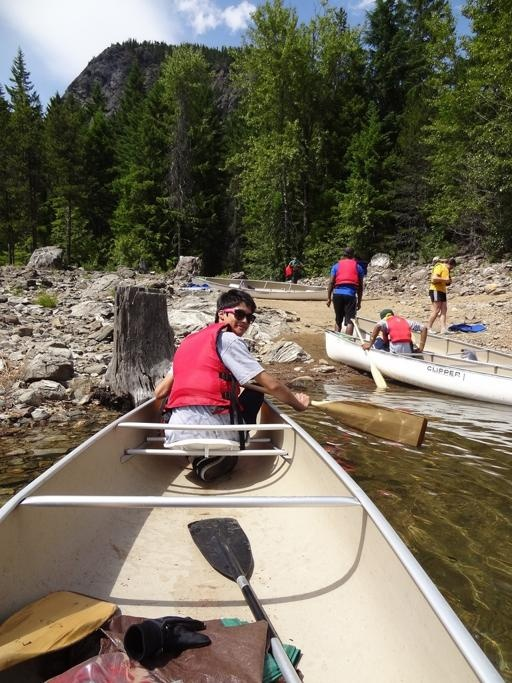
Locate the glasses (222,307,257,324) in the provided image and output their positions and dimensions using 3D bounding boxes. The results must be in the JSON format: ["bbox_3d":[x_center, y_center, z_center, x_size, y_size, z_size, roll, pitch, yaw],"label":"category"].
[{"bbox_3d":[-0.133,-0.167,2.842,0.118,0.038,0.114,8,-16,43],"label":"glasses"}]

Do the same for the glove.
[{"bbox_3d":[-0.238,0.776,1.297,0.127,0.080,0.190,-9,-16,33],"label":"glove"}]

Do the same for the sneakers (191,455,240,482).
[{"bbox_3d":[-0.248,0.750,2.798,0.198,0.097,0.274,1,-5,21],"label":"sneakers"}]

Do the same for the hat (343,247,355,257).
[{"bbox_3d":[1.654,-1.613,8.492,0.145,0.175,0.183,3,6,-2],"label":"hat"}]

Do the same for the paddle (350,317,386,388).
[{"bbox_3d":[1.696,0.218,7.352,0.149,0.102,1.405,-2,43,-16],"label":"paddle"}]

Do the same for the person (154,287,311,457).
[{"bbox_3d":[-0.108,0.343,2.888,0.956,1.264,0.685,0,2,-7],"label":"person"}]

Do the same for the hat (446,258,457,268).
[{"bbox_3d":[3.815,-1.536,9.263,0.146,0.180,0.574,9,9,17],"label":"hat"}]

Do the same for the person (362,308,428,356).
[{"bbox_3d":[2.192,-0.120,7.666,0.902,0.622,1.319,-7,5,-7],"label":"person"}]
